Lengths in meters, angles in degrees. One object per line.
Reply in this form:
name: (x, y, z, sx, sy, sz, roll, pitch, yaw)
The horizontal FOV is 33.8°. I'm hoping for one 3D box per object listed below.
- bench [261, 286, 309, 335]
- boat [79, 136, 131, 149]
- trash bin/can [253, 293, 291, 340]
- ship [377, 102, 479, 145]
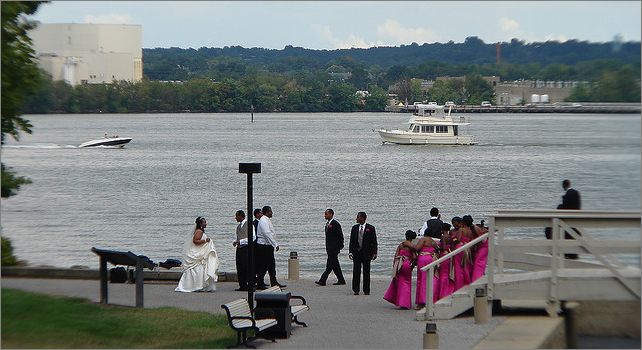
bench: (-1.862, 8.093, 64.398, 2.596, 2.349, 2.637, -1, -2, 35)
boat: (-27.678, -4.169, 138.850, 7.286, 1.568, 2.312, -4, 10, -20)
trash bin/can: (-2.668, 8.458, 63.895, 3.309, 3.431, 2.626, -1, -4, 3)
ship: (13.149, -6.357, 132.341, 12.733, 4.045, 3.661, -2, 13, -8)
